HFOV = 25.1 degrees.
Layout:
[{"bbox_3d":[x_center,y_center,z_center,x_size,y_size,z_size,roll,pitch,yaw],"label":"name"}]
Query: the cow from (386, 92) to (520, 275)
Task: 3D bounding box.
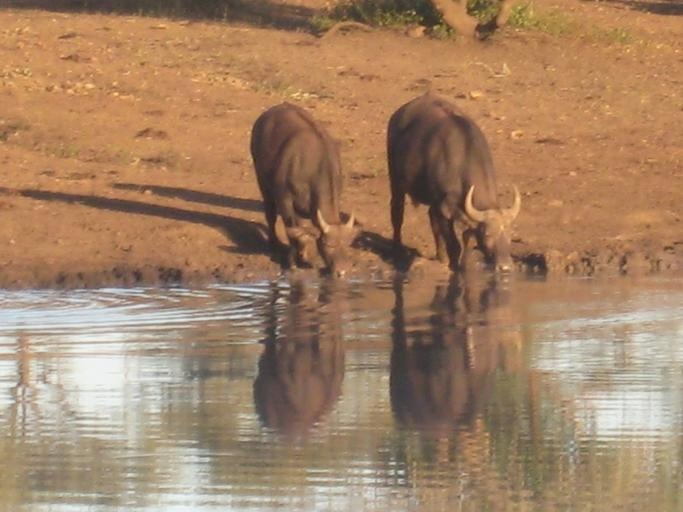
[{"bbox_3d":[1.836,-1.234,25.120,0.870,3.007,2.520,-1,-2,-34],"label":"cow"}]
